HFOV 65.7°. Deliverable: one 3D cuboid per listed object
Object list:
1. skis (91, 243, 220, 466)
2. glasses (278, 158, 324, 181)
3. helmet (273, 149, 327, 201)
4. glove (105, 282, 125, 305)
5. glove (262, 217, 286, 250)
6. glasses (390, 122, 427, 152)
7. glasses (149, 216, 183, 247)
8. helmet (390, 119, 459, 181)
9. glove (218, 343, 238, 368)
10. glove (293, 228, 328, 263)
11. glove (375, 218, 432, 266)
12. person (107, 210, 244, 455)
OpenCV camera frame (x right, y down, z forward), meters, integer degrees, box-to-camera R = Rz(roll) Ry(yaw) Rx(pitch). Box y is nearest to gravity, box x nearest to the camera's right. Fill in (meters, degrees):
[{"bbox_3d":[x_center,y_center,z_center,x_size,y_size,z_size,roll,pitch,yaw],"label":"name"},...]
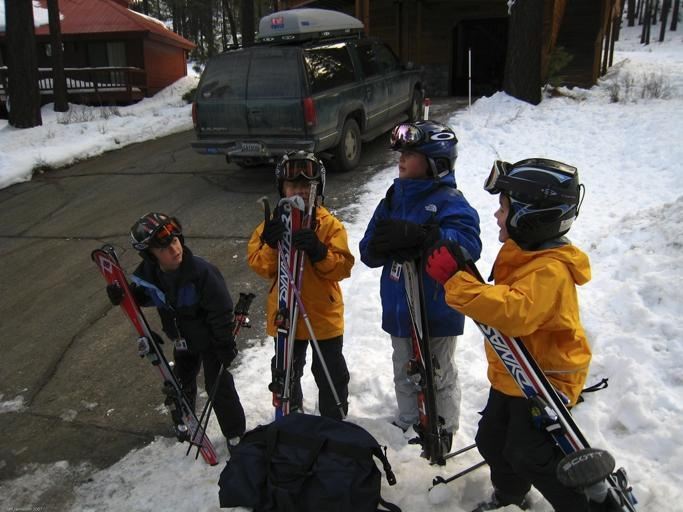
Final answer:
[{"bbox_3d":[-1.516,0.890,4.334,0.213,1.888,0.211,-27,22,-19],"label":"skis"},{"bbox_3d":[-0.307,-0.647,3.984,0.354,0.182,0.173,-5,20,-6],"label":"glasses"},{"bbox_3d":[-0.297,-0.624,3.977,0.339,0.390,0.367,1,0,1],"label":"helmet"},{"bbox_3d":[-1.708,0.293,3.992,0.122,0.165,0.058,-33,-4,42],"label":"glove"},{"bbox_3d":[-0.504,-0.159,3.838,0.151,0.216,0.077,25,10,23],"label":"glove"},{"bbox_3d":[0.503,-0.873,3.817,0.187,0.124,0.239,10,-10,32],"label":"glasses"},{"bbox_3d":[-1.287,-0.141,3.865,0.178,0.108,0.229,-37,-2,-43],"label":"glasses"},{"bbox_3d":[0.622,-0.756,3.812,0.467,0.370,0.358,1,15,-5],"label":"helmet"},{"bbox_3d":[-0.852,0.755,3.988,0.126,0.191,0.086,-9,21,-15],"label":"glove"},{"bbox_3d":[-0.222,-0.074,3.829,0.229,0.268,0.142,0,20,9],"label":"glove"},{"bbox_3d":[0.390,-0.082,3.528,0.370,0.333,0.184,5,22,23],"label":"glove"},{"bbox_3d":[-1.183,0.581,4.110,0.844,1.861,0.437,7,22,27],"label":"person"}]
